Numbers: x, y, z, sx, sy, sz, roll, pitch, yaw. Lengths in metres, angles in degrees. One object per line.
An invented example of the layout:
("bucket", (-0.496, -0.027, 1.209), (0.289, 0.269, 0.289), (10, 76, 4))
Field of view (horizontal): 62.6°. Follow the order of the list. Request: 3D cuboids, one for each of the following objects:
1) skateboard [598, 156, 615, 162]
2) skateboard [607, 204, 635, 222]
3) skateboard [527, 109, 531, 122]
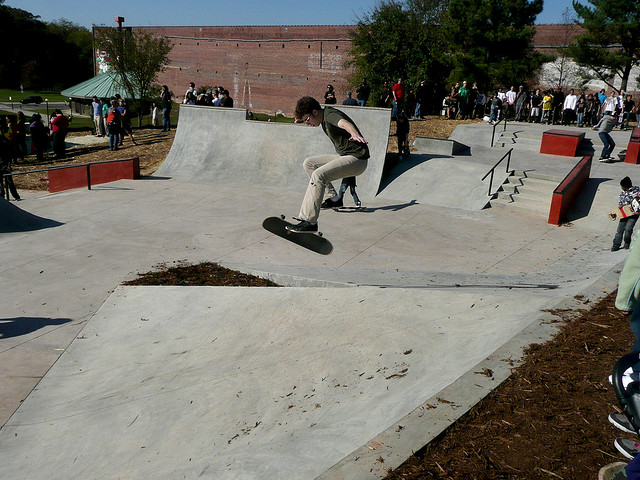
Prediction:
("skateboard", (8.669, -2.423, 15.862), (0.498, 0.154, 0.205), (-7, -13, 21))
("skateboard", (5.142, -0.469, 8.959), (0.338, 0.310, 0.328), (7, 15, 22))
("skateboard", (9.258, -5.457, 23.285), (0.060, 0.484, 0.392), (7, 15, 20))
